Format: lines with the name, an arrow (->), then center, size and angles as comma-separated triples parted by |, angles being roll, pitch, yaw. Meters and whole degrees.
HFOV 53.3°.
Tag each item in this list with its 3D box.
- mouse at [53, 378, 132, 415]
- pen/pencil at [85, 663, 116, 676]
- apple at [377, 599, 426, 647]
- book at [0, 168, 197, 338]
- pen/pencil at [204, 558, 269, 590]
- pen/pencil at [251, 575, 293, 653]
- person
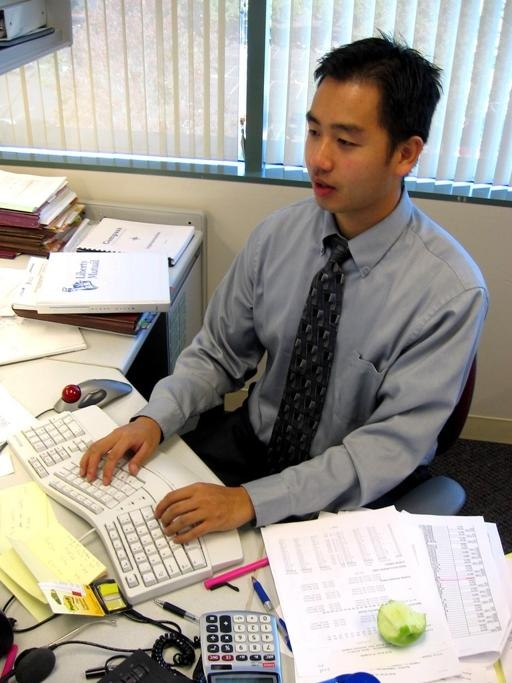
mouse -> -0.329, 0.093, 1.002 | 0.112, 0.037, 0.058 | -19, 32, -36
pen/pencil -> -0.168, 0.358, 0.561 | 0.035, 0.011, 0.011 | -5, -2, -10
apple -> 0.172, 0.341, 0.612 | 0.047, 0.029, 0.047 | -6, 30, -5
book -> -0.417, -0.353, 1.807 | 0.442, 0.198, 0.445 | 5, 70, -7
pen/pencil -> -0.029, 0.321, 0.700 | 0.080, 0.011, 0.011 | -14, 39, -28
pen/pencil -> 0.015, 0.344, 0.660 | 0.018, 0.015, 0.134 | -15, 29, -12
person -> 0.079, -0.074, 1.003 | 0.646, 0.891, 0.612 | -20, 35, -38
